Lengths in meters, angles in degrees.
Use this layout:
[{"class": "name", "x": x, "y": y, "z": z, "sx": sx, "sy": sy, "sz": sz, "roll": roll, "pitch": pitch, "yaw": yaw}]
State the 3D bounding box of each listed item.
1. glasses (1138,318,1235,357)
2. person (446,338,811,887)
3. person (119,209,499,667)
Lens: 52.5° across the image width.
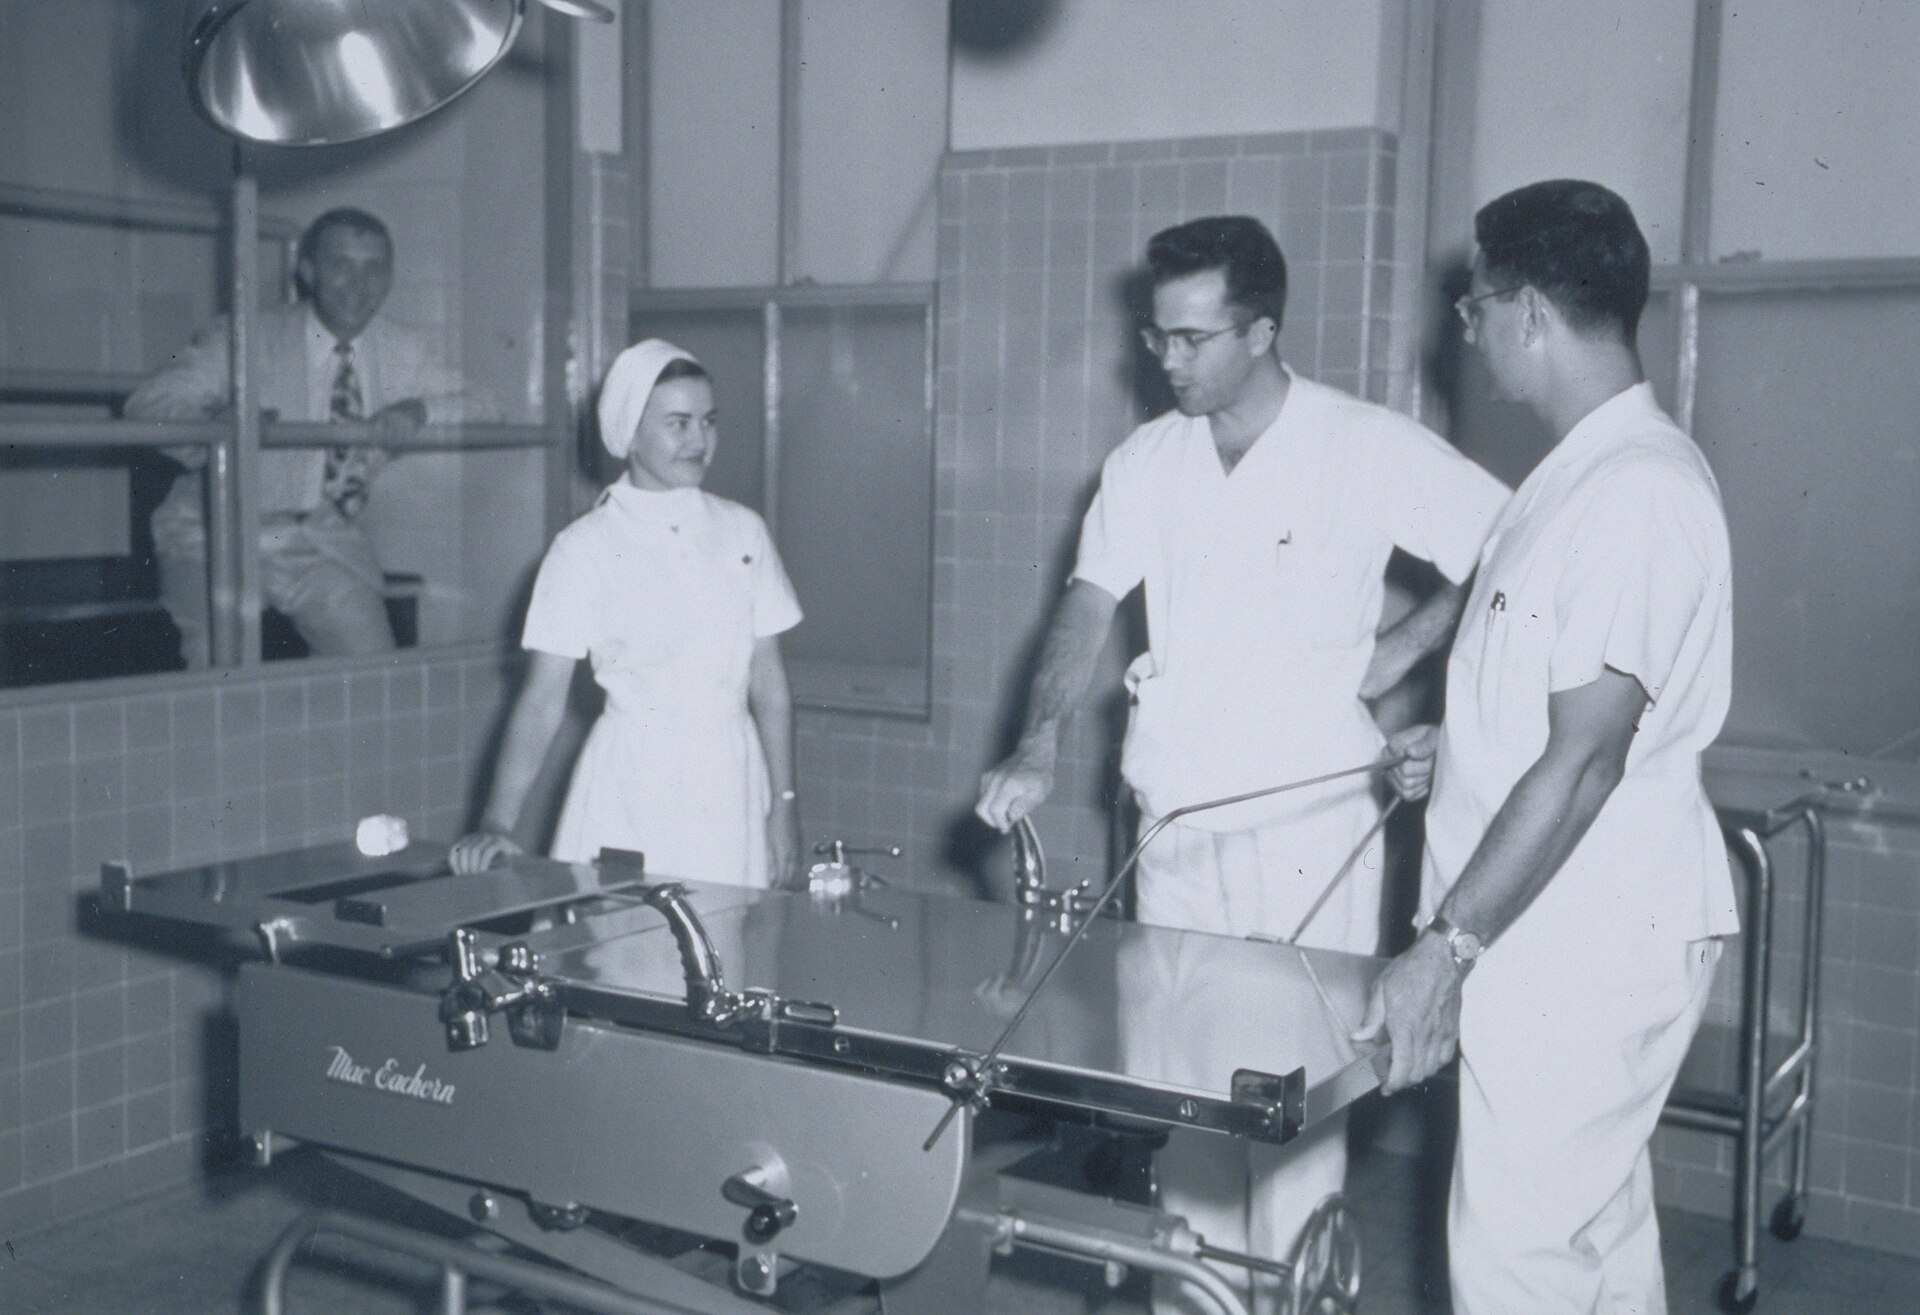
[{"class": "glasses", "x": 0.493, "y": -0.680, "z": 4.149, "sx": 0.119, "sy": 0.038, "sz": 0.113, "roll": 3, "pitch": -2, "yaw": -44}, {"class": "person", "x": -0.679, "y": -0.079, "z": 4.232, "sx": 0.432, "sy": 1.208, "sz": 0.821, "roll": 6, "pitch": 10, "yaw": 27}, {"class": "person", "x": -1.776, "y": -0.631, "z": 5.261, "sx": 0.452, "sy": 1.196, "sz": 1.041, "roll": 4, "pitch": 9, "yaw": 17}]
